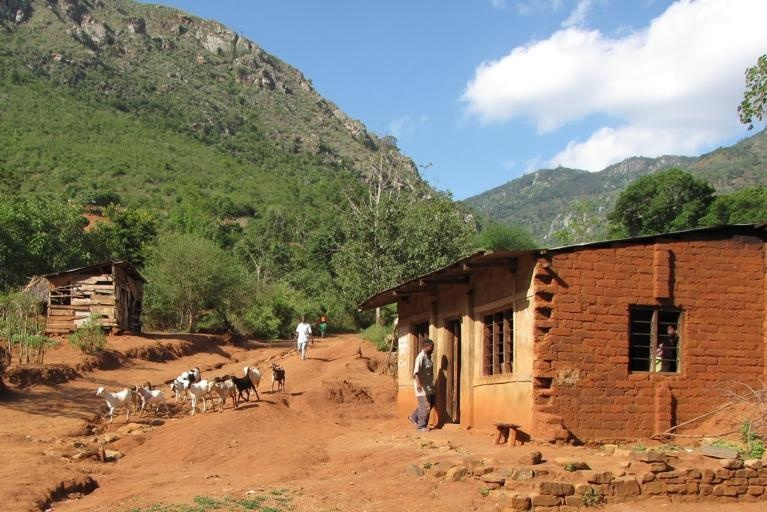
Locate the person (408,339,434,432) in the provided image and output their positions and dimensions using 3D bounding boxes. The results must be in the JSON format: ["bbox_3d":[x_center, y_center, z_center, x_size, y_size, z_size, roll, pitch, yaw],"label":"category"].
[{"bbox_3d":[1.274,4.112,22.011,0.550,2.767,1.258,0,-12,5],"label":"person"}]
